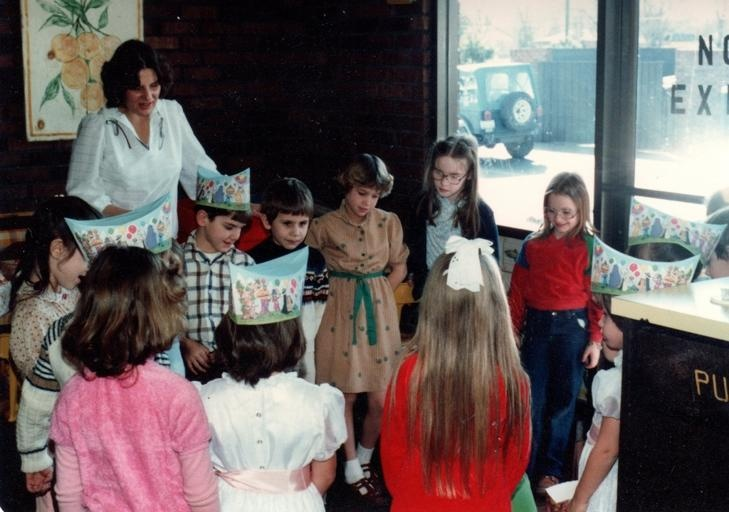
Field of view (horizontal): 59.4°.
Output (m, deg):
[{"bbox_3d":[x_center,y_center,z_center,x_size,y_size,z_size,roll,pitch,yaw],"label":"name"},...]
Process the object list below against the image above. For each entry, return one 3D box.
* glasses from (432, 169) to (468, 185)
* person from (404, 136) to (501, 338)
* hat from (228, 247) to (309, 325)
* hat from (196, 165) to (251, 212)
[{"bbox_3d":[0.349,-0.326,2.626,0.128,0.061,0.041,-2,12,6],"label":"glasses"},{"bbox_3d":[0.381,-0.002,2.860,0.435,1.107,0.331,3,34,7],"label":"person"},{"bbox_3d":[-0.276,0.093,1.842,0.224,0.169,0.113,-4,3,-31],"label":"hat"},{"bbox_3d":[-0.553,-0.254,2.423,0.221,0.162,0.144,4,5,22],"label":"hat"}]
